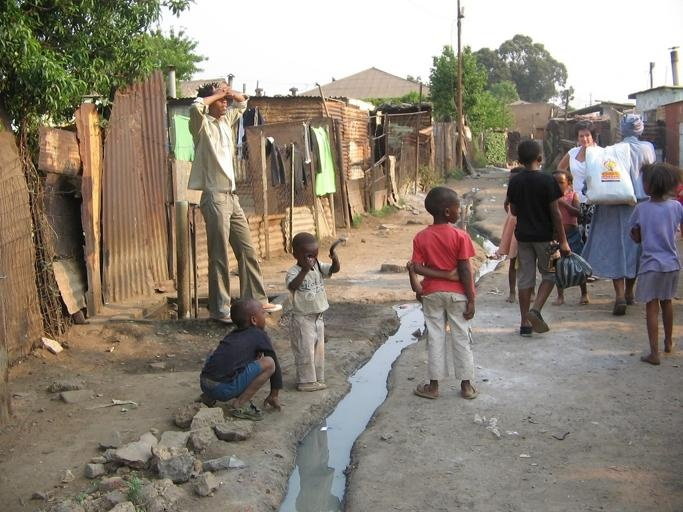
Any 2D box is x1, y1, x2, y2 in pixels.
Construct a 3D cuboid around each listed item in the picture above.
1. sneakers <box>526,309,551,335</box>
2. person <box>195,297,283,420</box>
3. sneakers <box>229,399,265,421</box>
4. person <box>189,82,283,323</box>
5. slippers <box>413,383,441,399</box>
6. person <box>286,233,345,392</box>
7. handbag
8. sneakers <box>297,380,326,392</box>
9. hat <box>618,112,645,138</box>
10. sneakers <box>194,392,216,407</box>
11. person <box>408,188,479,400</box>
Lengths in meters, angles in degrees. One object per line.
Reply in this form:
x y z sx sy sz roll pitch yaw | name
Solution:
2.069 0.683 6.605 0.154 0.307 0.117 -16 20 42 | sneakers
-0.811 0.839 5.094 0.636 0.914 0.427 -6 14 -24 | person
-0.753 1.233 5.062 0.238 0.128 0.120 2 8 -6 | sneakers
-1.246 -0.571 6.857 0.759 2.572 0.842 5 14 23 | person
0.755 1.158 5.575 0.202 0.148 0.103 11 10 33 | slippers
-0.239 0.481 5.565 0.462 1.437 0.494 0 13 1 | person
3.182 -0.963 7.439 0.581 0.742 0.484 5 14 21 | handbag
-0.268 1.164 5.686 0.244 0.112 0.093 -1 3 -6 | sneakers
3.577 -1.569 7.784 0.317 0.394 0.369 5 7 38 | hat
-1.097 1.173 5.170 0.204 0.155 0.071 12 26 -14 | sneakers
0.884 0.335 5.378 0.606 1.809 0.369 2 13 13 | person
